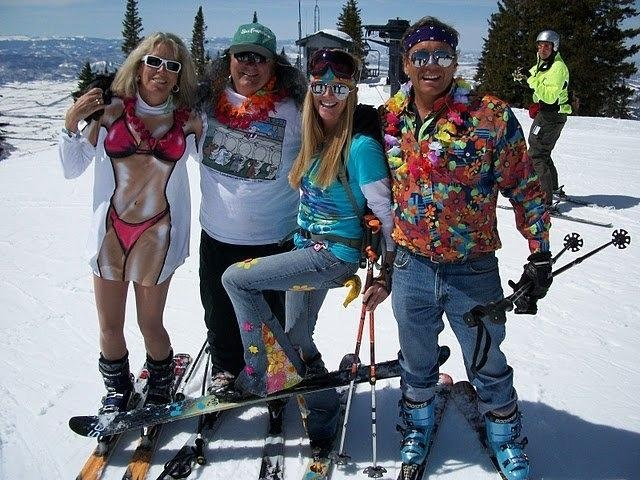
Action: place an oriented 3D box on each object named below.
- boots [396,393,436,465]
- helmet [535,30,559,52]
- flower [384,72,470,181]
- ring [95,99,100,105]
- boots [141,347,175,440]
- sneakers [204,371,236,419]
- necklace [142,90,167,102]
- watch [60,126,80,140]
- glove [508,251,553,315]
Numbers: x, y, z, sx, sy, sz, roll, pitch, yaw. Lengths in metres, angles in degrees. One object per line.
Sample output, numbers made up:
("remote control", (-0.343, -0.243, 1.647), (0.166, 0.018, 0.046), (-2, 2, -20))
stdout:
("boots", (0.696, 1.369, 3.481), (0.179, 0.599, 0.328), (-2, -36, 26))
("helmet", (3.445, -2.988, 7.360), (0.333, 0.289, 0.290), (-13, 15, -26))
("flower", (0.684, -0.697, 3.131), (0.610, 0.682, 0.372), (5, 13, 10))
("ring", (-1.522, -0.948, 3.349), (0.007, 0.038, 0.027), (9, 14, 27))
("boots", (-1.232, 1.147, 3.760), (0.189, 0.691, 0.290), (-1, -9, -9))
("sneakers", (-0.773, 1.172, 3.728), (0.148, 0.227, 0.485), (11, 2, -2))
("necklace", (-1.172, -1.003, 3.441), (0.099, 0.046, 0.109), (7, 20, -10))
("watch", (-1.710, -0.726, 3.338), (0.077, 0.038, 0.092), (14, 1, -4))
("glove", (1.352, 0.270, 3.073), (0.102, 0.349, 0.349), (25, -17, 41))
